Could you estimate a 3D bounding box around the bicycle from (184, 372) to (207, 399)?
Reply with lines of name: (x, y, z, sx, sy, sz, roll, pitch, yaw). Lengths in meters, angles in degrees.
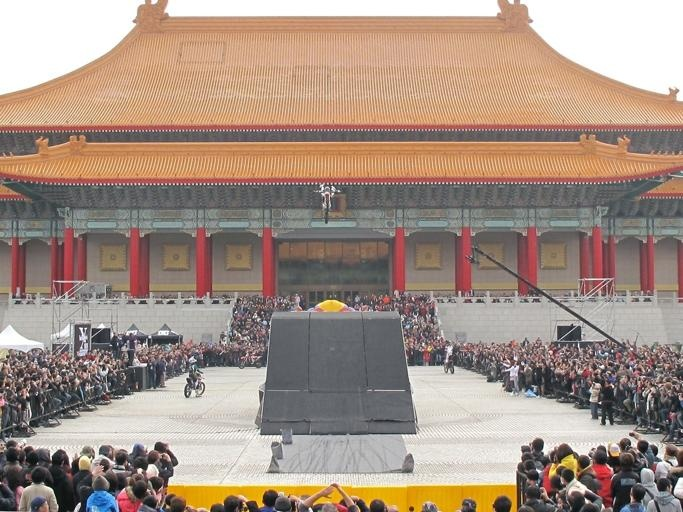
bicycle: (-7.728, 6.842, 78.498, 0.845, 1.340, 1.176, -4, -10, 24)

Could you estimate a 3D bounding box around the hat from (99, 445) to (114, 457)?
hat: (-9.887, 8.126, 62.290, 0.671, 0.468, 0.471, 4, 18, -8)

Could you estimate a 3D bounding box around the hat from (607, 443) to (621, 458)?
hat: (11.757, 8.280, 63.225, 0.510, 0.625, 1.171, -2, -8, 10)

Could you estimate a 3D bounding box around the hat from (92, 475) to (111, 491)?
hat: (-9.803, 9.209, 60.418, 0.664, 0.559, 0.911, 2, 11, -5)

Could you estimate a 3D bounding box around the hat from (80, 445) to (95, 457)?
hat: (-10.728, 8.206, 62.342, 0.510, 0.534, 0.793, 0, -8, -4)
